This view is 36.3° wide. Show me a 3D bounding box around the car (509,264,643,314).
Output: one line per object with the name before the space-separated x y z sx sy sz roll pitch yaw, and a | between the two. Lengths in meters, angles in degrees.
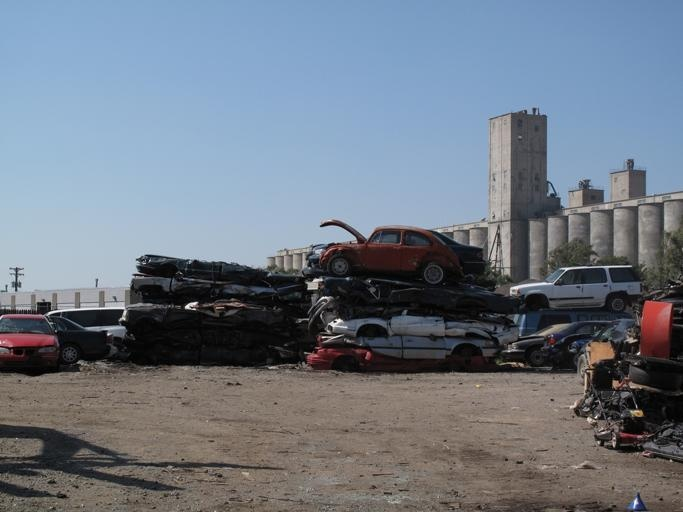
car | 7.363 1.032 32.906 4.209 0.988 1.554 1 -3 2

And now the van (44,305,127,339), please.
van | -7.947 1.975 31.780 2.719 0.704 0.977 2 -2 -5
